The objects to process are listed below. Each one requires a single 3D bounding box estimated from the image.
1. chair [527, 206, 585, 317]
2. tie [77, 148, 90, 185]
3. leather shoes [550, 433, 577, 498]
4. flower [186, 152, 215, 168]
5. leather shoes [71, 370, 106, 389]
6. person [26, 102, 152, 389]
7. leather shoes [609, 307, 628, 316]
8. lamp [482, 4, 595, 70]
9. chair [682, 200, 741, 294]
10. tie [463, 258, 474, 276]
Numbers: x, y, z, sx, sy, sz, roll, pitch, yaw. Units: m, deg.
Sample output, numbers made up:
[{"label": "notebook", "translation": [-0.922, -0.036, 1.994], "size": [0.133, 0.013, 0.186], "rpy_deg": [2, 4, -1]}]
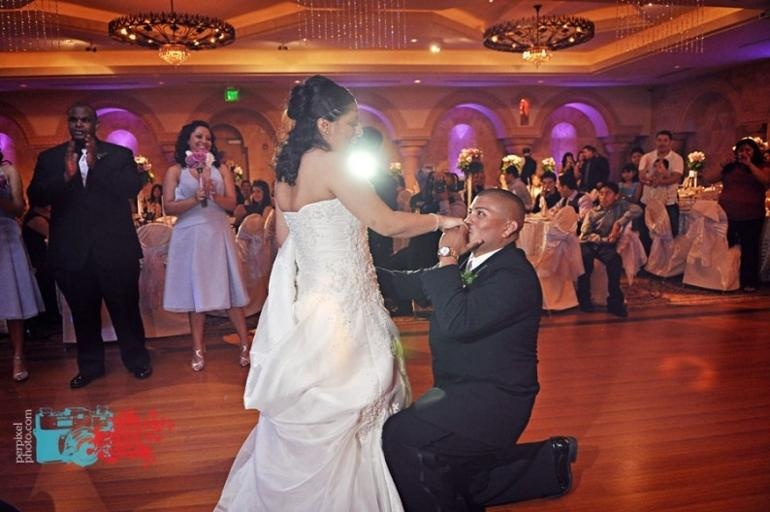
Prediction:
[{"label": "chair", "translation": [2.209, 0.028, 7.582], "size": [0.844, 1.309, 1.086], "rpy_deg": [0, -7, 23]}, {"label": "tie", "translation": [-2.702, -0.800, 4.996], "size": [0.092, 0.346, 0.244], "rpy_deg": [-4, 4, -28]}, {"label": "leather shoes", "translation": [1.246, 1.414, 3.886], "size": [0.147, 0.437, 0.181], "rpy_deg": [3, 9, 28]}, {"label": "flower", "translation": [-1.760, -0.910, 5.260], "size": [0.244, 0.160, 0.161], "rpy_deg": [-2, 4, -6]}, {"label": "leather shoes", "translation": [-2.799, 1.157, 5.271], "size": [0.116, 0.122, 0.314], "rpy_deg": [0, -7, 11]}, {"label": "person", "translation": [-2.694, -0.067, 5.121], "size": [0.892, 2.531, 0.570], "rpy_deg": [-3, 4, -18]}, {"label": "leather shoes", "translation": [2.917, 0.684, 7.003], "size": [0.226, 0.114, 0.169], "rpy_deg": [-1, 3, 20]}, {"label": "lamp", "translation": [2.620, -4.001, 9.916], "size": [1.763, 0.924, 1.724], "rpy_deg": [-3, 3, -22]}, {"label": "chair", "translation": [4.913, -0.204, 8.443], "size": [0.940, 1.263, 0.860], "rpy_deg": [-6, 10, -10]}, {"label": "tie", "translation": [0.548, 0.075, 3.766], "size": [0.065, 0.083, 0.085], "rpy_deg": [1, -4, 3]}]
